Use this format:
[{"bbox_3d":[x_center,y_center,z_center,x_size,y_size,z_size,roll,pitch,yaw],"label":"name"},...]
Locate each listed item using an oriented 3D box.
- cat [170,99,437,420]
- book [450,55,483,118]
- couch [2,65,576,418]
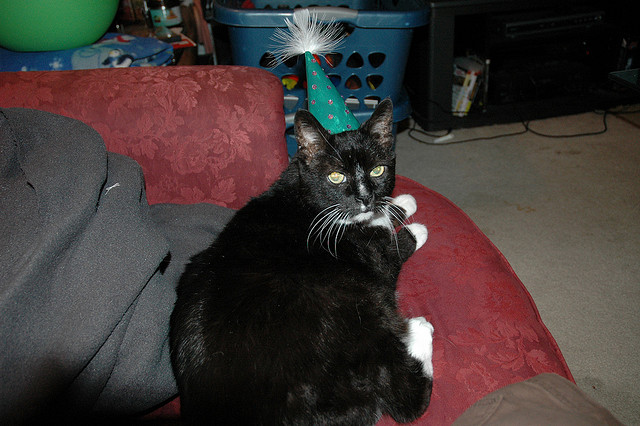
[{"bbox_3d":[-0.036,0.142,1.650,0.815,0.709,0.838,1,34,4],"label":"cat"},{"bbox_3d":[0.879,-0.776,3.233,0.180,0.273,0.182,14,20,6],"label":"book"},{"bbox_3d":[-0.133,0.257,2.069,1.370,1.208,1.322,-10,60,-8],"label":"couch"}]
